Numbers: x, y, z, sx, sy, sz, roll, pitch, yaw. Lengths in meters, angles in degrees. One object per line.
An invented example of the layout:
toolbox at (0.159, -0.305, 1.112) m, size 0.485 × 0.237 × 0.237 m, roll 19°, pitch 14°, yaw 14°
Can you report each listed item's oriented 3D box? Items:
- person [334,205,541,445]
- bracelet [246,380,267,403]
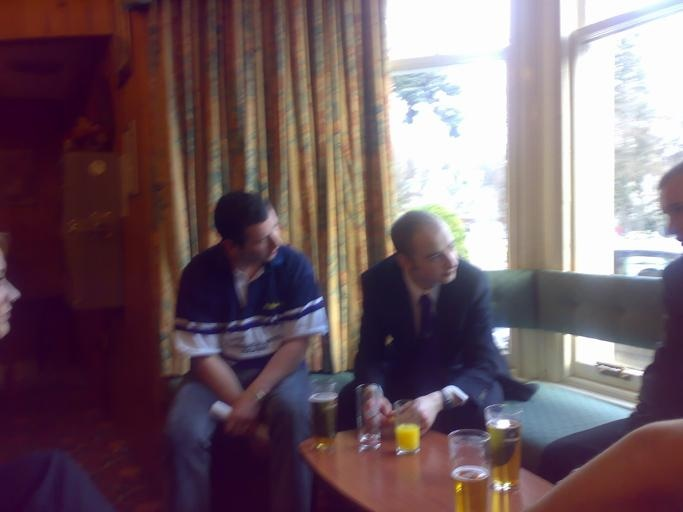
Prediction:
person at (0.303, 0.425, 2.740) m, size 0.759 × 1.200 × 0.943 m, roll -7°, pitch -24°, yaw 19°
bracelet at (-0.353, 0.569, 2.414) m, size 0.068 × 0.068 × 0.069 m, roll 0°, pitch 4°, yaw 14°
